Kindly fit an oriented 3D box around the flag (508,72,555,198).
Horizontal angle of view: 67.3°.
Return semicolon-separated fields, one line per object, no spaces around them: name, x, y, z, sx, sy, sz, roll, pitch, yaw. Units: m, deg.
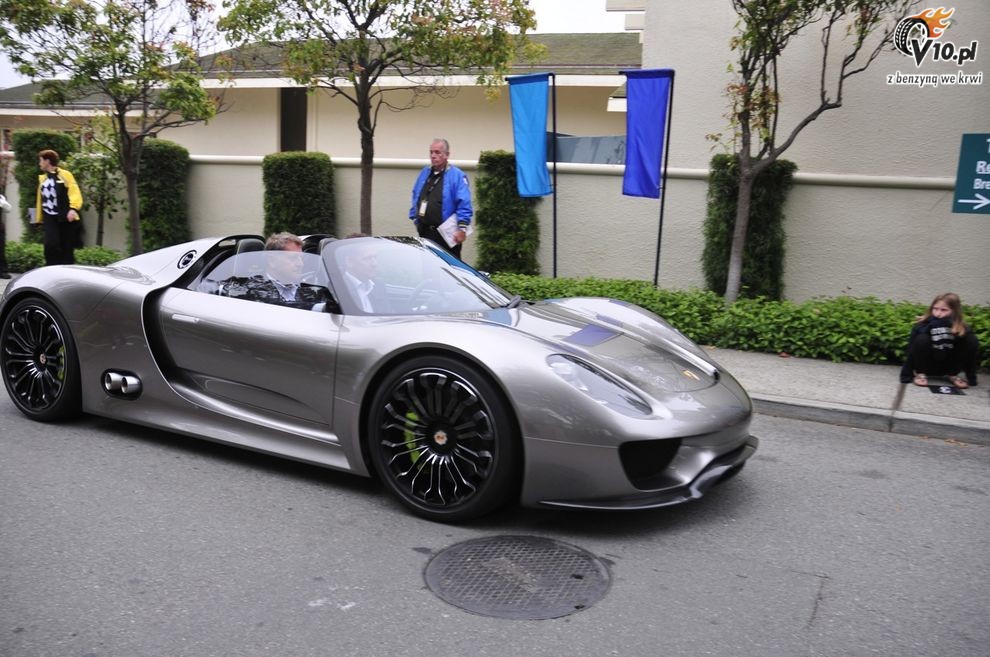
flag;0.523;-2.996;11.611;0.665;1.844;0.294;1;12;2

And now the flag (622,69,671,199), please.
flag;2.160;-2.816;10.779;0.614;1.807;0.381;4;13;16
